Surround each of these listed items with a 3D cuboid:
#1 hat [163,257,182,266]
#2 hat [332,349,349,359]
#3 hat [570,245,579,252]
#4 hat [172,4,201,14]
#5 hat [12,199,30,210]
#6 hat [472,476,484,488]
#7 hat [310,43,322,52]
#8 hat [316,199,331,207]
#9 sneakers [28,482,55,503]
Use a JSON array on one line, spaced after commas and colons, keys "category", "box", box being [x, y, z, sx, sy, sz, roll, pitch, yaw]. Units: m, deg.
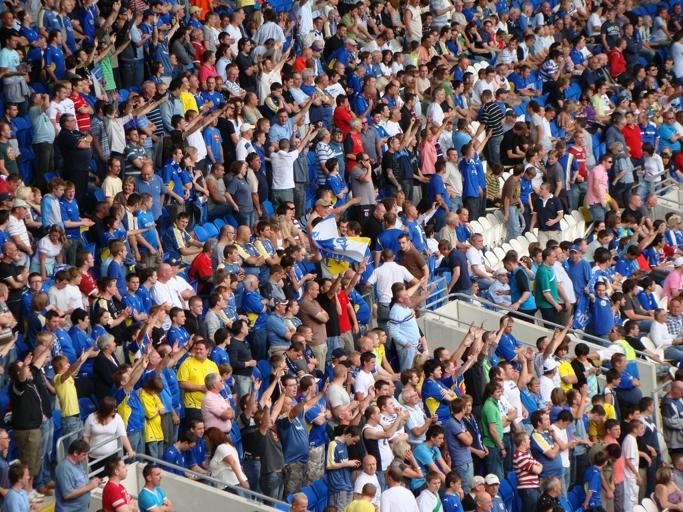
[{"category": "hat", "box": [-3.028, 0.095, 30.741, 0.199, 0.156, 0.322, 29, 18, 35]}, {"category": "hat", "box": [-0.052, 1.645, 28.990, 0.204, 0.119, 0.151, -7, 10, 0]}, {"category": "hat", "box": [4.350, -0.142, 32.535, 0.166, 0.127, 0.277, 3, 8, 21]}, {"category": "hat", "box": [-3.280, -5.107, 35.785, 0.432, 0.137, 0.286, -2, 10, -8]}, {"category": "hat", "box": [-5.558, -0.896, 29.773, 0.209, 0.088, 0.143, 3, 7, -36]}, {"category": "hat", "box": [2.150, 3.578, 27.509, 0.182, 0.145, 0.131, -30, 10, -5]}, {"category": "hat", "box": [-0.553, -4.382, 36.539, 0.170, 0.169, 0.132, -25, 31, -10]}, {"category": "hat", "box": [-0.370, -0.953, 31.468, 0.142, 0.083, 0.217, -7, -1, -37]}, {"category": "sneakers", "box": [-4.739, 3.719, 27.116, 0.372, 0.139, 0.269, -3, 8, -28]}]
